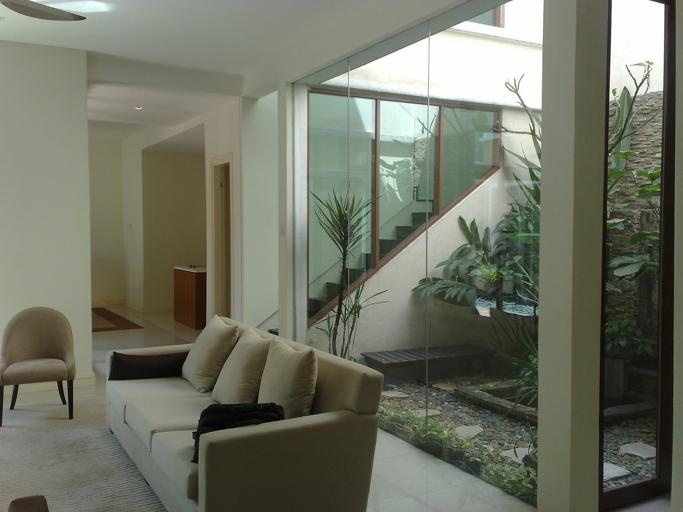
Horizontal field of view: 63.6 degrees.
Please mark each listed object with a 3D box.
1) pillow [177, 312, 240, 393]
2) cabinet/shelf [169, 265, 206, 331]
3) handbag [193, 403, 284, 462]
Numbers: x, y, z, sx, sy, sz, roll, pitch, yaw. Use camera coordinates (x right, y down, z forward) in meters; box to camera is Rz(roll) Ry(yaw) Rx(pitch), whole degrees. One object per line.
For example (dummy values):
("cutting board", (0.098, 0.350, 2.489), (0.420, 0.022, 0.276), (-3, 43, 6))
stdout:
("pillow", (-1.143, 0.843, 4.762), (0.464, 0.563, 0.291), (21, -18, 28))
("cabinet/shelf", (-2.614, 0.743, 9.443), (0.334, 0.868, 0.958), (-2, 3, -25))
("handbag", (-0.603, 0.997, 3.256), (0.341, 0.147, 0.354), (-3, 11, -9))
